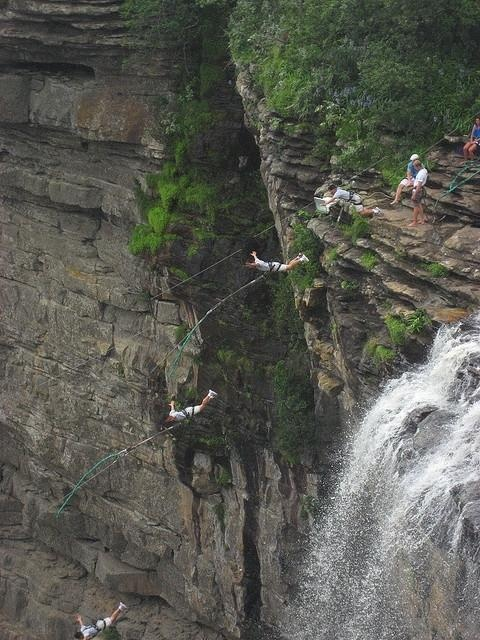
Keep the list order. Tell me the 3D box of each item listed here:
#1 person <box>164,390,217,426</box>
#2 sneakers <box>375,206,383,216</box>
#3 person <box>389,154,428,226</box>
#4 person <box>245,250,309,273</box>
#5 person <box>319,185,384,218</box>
[{"bbox_3d":[-1.515,2.797,28.240,1.313,0.485,1.067,-34,33,-9],"label":"person"},{"bbox_3d":[3.315,-2.600,20.898,0.192,0.153,0.246,-10,16,-38],"label":"sneakers"},{"bbox_3d":[4.012,-3.031,20.307,0.498,1.591,0.826,-2,13,-10],"label":"person"},{"bbox_3d":[0.979,-1.424,22.263,1.371,0.453,0.775,1,8,-3],"label":"person"},{"bbox_3d":[2.660,-2.784,21.236,1.201,0.810,0.440,31,2,18],"label":"person"}]
